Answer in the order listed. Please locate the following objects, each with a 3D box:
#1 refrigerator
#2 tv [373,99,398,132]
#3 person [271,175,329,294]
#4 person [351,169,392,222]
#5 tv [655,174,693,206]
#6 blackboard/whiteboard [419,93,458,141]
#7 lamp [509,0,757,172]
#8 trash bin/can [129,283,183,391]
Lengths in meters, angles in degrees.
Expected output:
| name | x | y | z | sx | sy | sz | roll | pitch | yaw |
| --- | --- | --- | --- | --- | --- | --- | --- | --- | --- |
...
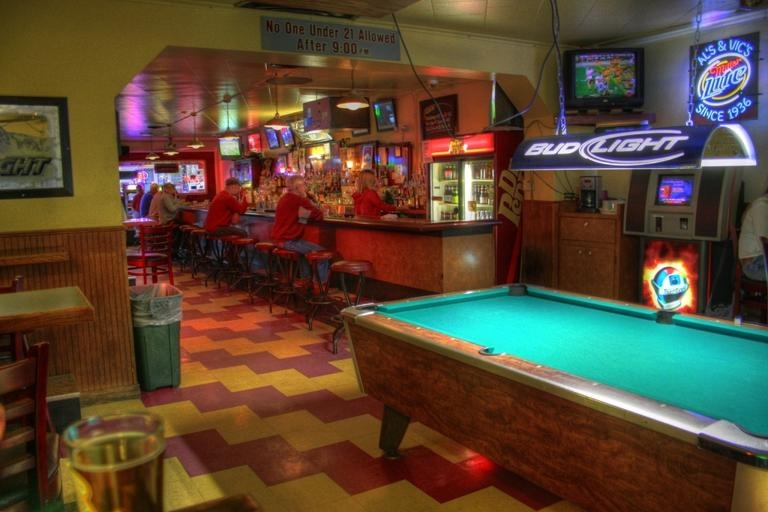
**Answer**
| name | x | y | z | sx | sy | sz | roll | pitch | yaw |
| --- | --- | --- | --- | --- | --- | --- | --- | --- | --- |
| refrigerator | 1.576 | -0.921 | 9.596 | 1.086 | 2.386 | 2.315 | -5 | 15 | -14 |
| tv | 0.035 | -2.899 | 11.664 | 0.116 | 0.711 | 0.807 | -15 | 9 | -29 |
| person | -1.252 | -0.375 | 8.580 | 0.762 | 1.606 | 1.342 | -8 | 16 | -22 |
| person | -0.206 | -1.037 | 9.544 | 0.506 | 0.768 | 0.537 | -6 | 16 | -18 |
| tv | 3.682 | -0.836 | 7.218 | 0.237 | 0.397 | 0.451 | 6 | -3 | -41 |
| blackboard/whiteboard | 1.016 | -2.581 | 10.474 | 0.157 | 0.942 | 1.147 | -6 | 10 | -34 |
| lamp | 1.911 | -1.055 | 4.463 | 0.622 | 0.944 | 1.483 | 3 | -3 | -45 |
| trash bin/can | -2.311 | 0.898 | 5.852 | 0.516 | 0.947 | 0.295 | -7 | 16 | -19 |
